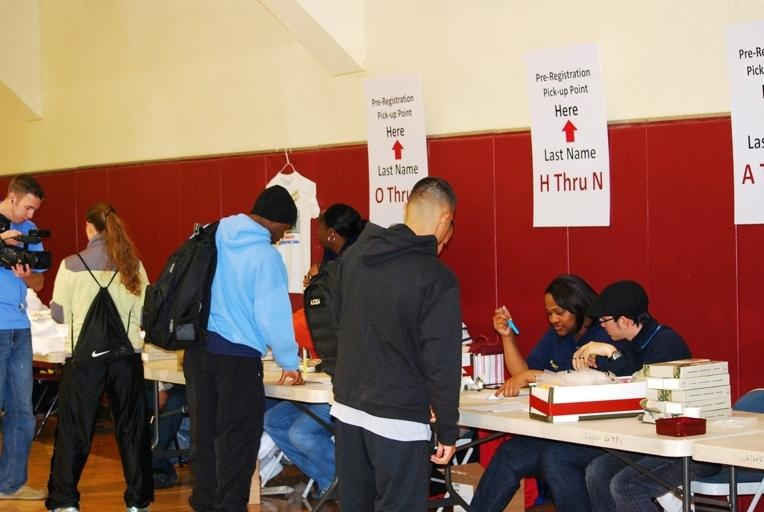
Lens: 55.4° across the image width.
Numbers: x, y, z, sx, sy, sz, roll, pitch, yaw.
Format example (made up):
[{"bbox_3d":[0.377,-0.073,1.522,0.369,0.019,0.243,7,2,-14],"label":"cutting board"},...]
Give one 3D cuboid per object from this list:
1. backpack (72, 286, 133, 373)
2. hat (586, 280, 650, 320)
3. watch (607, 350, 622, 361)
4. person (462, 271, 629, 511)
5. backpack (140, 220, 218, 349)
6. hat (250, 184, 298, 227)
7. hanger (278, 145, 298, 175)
[{"bbox_3d":[-1.979,0.512,5.106,0.536,0.726,0.210,-2,7,-15],"label":"backpack"},{"bbox_3d":[1.539,0.255,4.671,0.298,0.166,0.227,5,12,21],"label":"hat"},{"bbox_3d":[1.486,0.639,4.672,0.064,0.047,0.069,-12,-7,-6],"label":"watch"},{"bbox_3d":[1.084,0.919,4.738,1.101,1.871,0.732,17,-32,-18],"label":"person"},{"bbox_3d":[-1.264,0.179,4.567,0.481,0.801,0.274,-1,-3,-12],"label":"backpack"},{"bbox_3d":[-0.717,-0.333,4.770,0.248,0.226,0.253,1,-1,24],"label":"hat"},{"bbox_3d":[-0.916,-0.945,7.156,0.277,0.340,0.008,-2,-4,37],"label":"hanger"}]
